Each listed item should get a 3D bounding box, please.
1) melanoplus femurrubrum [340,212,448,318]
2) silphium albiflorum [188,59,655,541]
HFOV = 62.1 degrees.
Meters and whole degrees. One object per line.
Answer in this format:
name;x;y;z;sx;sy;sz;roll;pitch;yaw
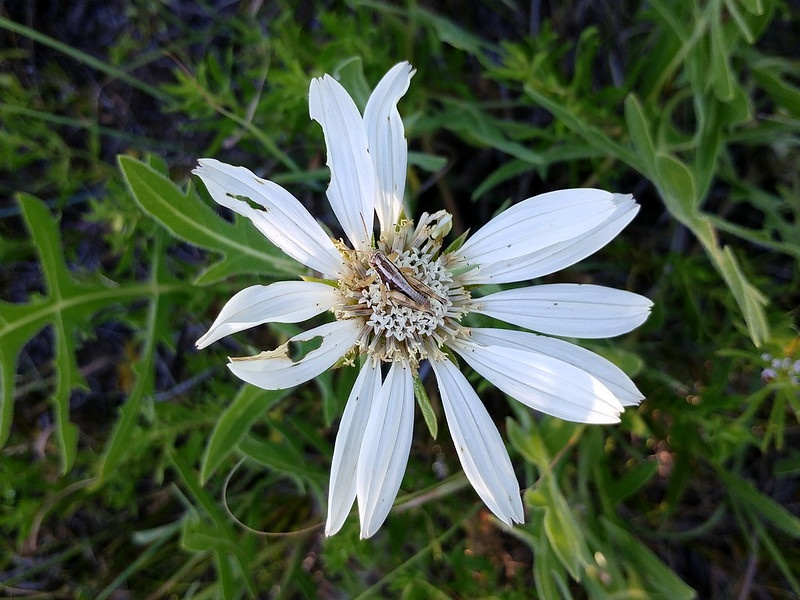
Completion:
melanoplus femurrubrum;-0.031;-0.086;2.300;0.320;0.108;0.232;39;76;-7
silphium albiflorum;0.086;-0.008;2.328;1.538;0.380;1.428;37;85;4
